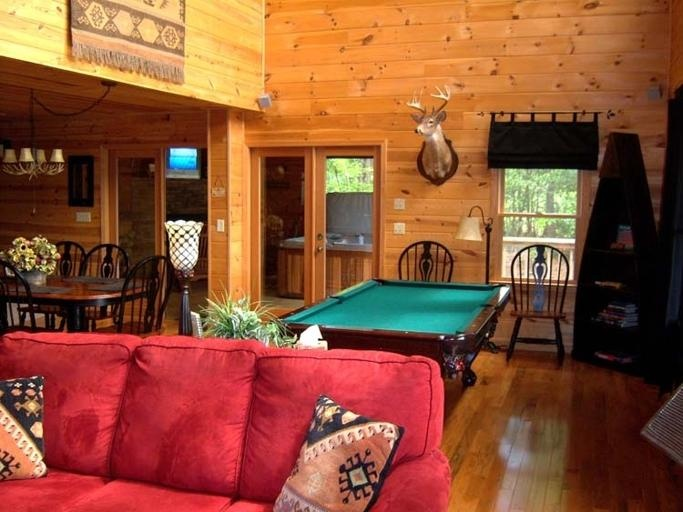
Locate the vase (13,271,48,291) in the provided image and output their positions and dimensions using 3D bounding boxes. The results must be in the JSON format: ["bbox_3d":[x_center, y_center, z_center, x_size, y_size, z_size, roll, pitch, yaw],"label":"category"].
[{"bbox_3d":[-2.836,0.229,5.057,0.209,0.099,0.231,1,-6,-1],"label":"vase"}]

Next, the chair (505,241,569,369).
[{"bbox_3d":[2.093,0.478,5.969,0.637,1.228,0.784,4,11,16],"label":"chair"}]

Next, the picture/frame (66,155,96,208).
[{"bbox_3d":[-3.588,-1.051,7.663,0.451,0.696,0.063,6,7,20],"label":"picture/frame"}]

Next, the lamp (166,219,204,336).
[{"bbox_3d":[-0.899,0.117,3.188,0.205,0.643,0.646,-2,10,-15],"label":"lamp"}]

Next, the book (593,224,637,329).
[{"bbox_3d":[2.757,0.180,5.585,0.403,1.006,0.553,5,11,24],"label":"book"}]

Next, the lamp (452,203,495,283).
[{"bbox_3d":[1.445,-0.126,6.098,0.378,0.872,0.520,3,10,14],"label":"lamp"}]

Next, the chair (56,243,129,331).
[{"bbox_3d":[-3.122,0.369,6.795,0.730,0.976,0.669,21,-7,5],"label":"chair"}]

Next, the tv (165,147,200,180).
[{"bbox_3d":[-2.073,-1.255,7.525,0.548,0.471,0.375,2,10,1],"label":"tv"}]

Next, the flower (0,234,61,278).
[{"bbox_3d":[-3.090,-0.006,5.566,0.469,0.299,0.419,27,17,17],"label":"flower"}]

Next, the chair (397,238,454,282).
[{"bbox_3d":[0.962,0.030,6.543,0.560,0.744,0.537,1,1,11],"label":"chair"}]

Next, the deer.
[{"bbox_3d":[0.977,-1.341,5.994,0.579,1.100,0.904,2,10,8],"label":"deer"}]
